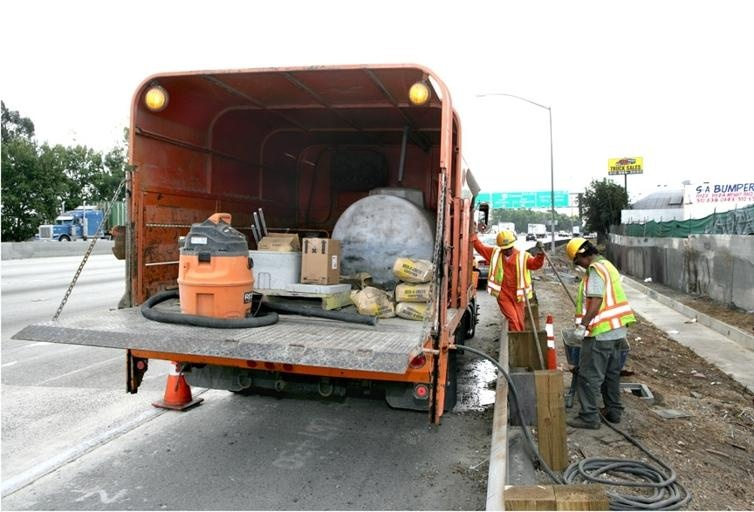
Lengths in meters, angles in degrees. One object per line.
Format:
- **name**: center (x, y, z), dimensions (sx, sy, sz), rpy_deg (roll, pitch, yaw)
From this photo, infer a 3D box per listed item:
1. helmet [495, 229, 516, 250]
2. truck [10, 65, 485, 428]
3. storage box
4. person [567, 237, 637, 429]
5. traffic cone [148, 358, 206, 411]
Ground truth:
- **helmet**: center (2.431, -0.311, 9.608), dimensions (0.347, 0.353, 0.391), rpy_deg (2, 9, 13)
- **truck**: center (-1.140, -0.411, 7.755), dimensions (4.412, 4.917, 7.513), rpy_deg (1, 2, 9)
- **storage box**: center (-1.066, 0.056, 7.132), dimensions (1.074, 0.650, 0.590), rpy_deg (4, 10, 24)
- **person**: center (3.116, 1.028, 7.349), dimensions (1.076, 2.599, 0.988), rpy_deg (0, 1, 11)
- **traffic cone**: center (-3.041, 1.903, 7.685), dimensions (0.597, 0.710, 0.600), rpy_deg (0, 2, 17)
